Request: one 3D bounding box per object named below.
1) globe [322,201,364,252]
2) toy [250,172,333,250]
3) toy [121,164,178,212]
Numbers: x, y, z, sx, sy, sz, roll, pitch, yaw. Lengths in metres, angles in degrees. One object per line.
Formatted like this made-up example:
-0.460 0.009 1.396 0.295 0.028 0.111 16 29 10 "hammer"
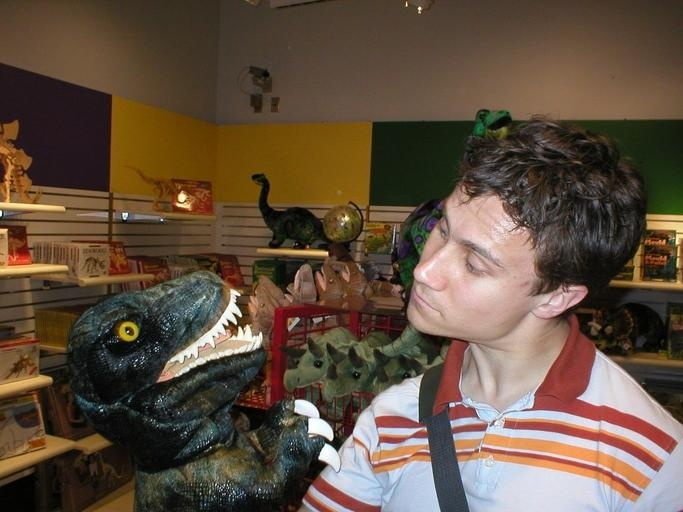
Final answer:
0.033 -0.275 4.417 0.294 0.407 0.210 8 9 27 "globe"
-0.507 -0.362 4.698 1.108 0.890 0.411 6 7 22 "toy"
-1.682 -0.603 4.392 0.428 0.412 0.418 -8 9 -39 "toy"
